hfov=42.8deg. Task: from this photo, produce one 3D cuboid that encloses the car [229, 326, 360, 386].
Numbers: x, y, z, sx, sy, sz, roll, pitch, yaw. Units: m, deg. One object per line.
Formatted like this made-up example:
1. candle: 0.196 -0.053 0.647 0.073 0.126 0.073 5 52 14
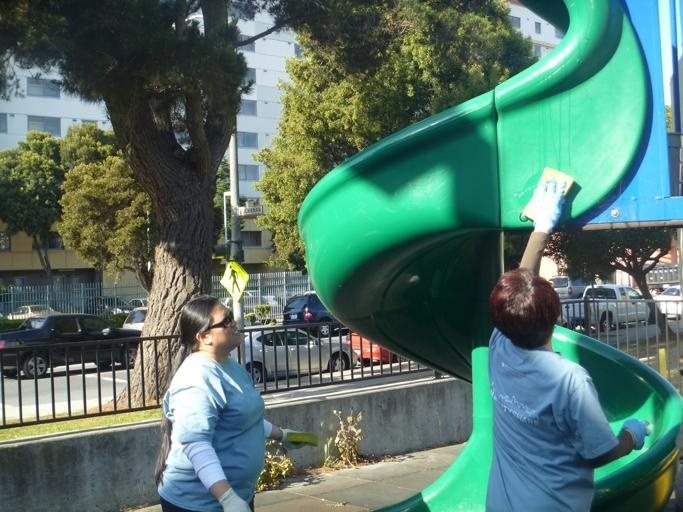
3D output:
1. car: -0.824 1.677 15.384 2.079 1.004 1.055 -5 1 -19
